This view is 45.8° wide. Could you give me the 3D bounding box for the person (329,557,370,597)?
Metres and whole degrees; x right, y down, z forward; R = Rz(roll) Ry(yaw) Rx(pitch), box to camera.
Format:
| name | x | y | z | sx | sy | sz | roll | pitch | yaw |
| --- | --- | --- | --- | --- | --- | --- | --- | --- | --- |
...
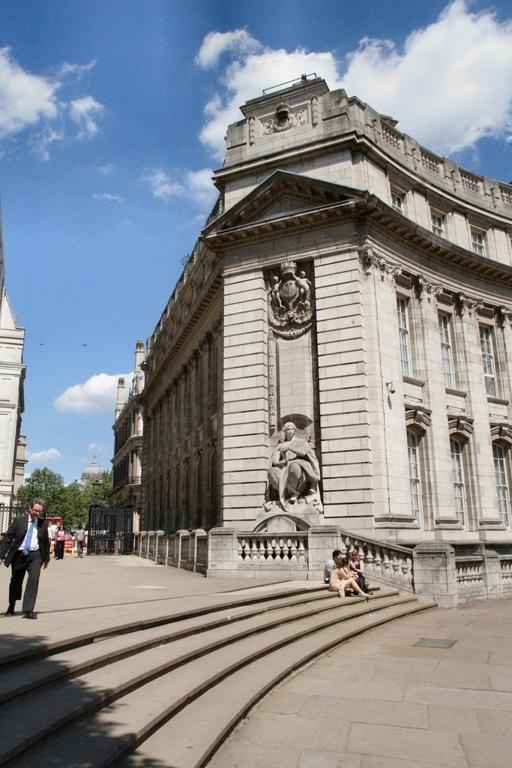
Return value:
| name | x | y | z | sx | sy | sz | roll | pitch | yaw |
| --- | --- | --- | --- | --- | --- | --- | --- | --- | --- |
| person | 2.172 | 4.819 | 15.016 | 1.117 | 1.131 | 0.638 | 6 | -16 | -10 |
